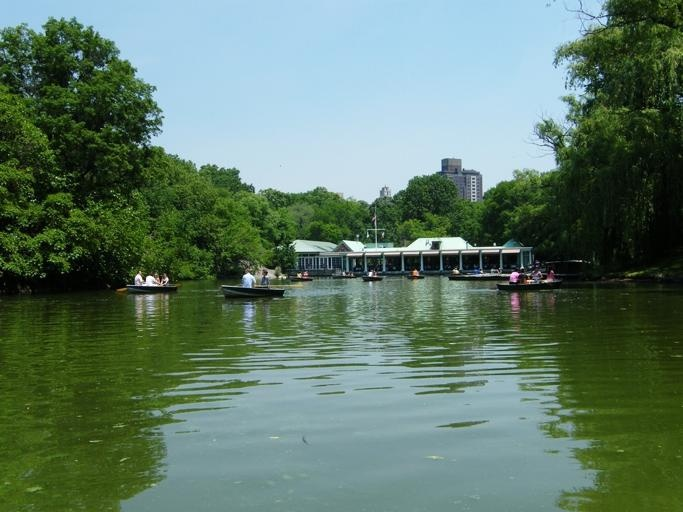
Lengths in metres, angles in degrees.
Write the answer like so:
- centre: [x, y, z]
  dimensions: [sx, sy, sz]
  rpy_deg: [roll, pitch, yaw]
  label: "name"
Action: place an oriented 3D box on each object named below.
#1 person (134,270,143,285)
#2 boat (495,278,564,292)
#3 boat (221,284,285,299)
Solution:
- centre: [-13.191, 1.347, 49.954]
  dimensions: [0.554, 0.803, 0.973]
  rpy_deg: [-1, 0, -9]
  label: "person"
- centre: [10.415, 1.616, 42.272]
  dimensions: [3.635, 0.670, 1.151]
  rpy_deg: [-4, 0, 7]
  label: "boat"
- centre: [-4.749, 1.938, 41.064]
  dimensions: [2.322, 0.483, 1.263]
  rpy_deg: [-1, 1, -18]
  label: "boat"
